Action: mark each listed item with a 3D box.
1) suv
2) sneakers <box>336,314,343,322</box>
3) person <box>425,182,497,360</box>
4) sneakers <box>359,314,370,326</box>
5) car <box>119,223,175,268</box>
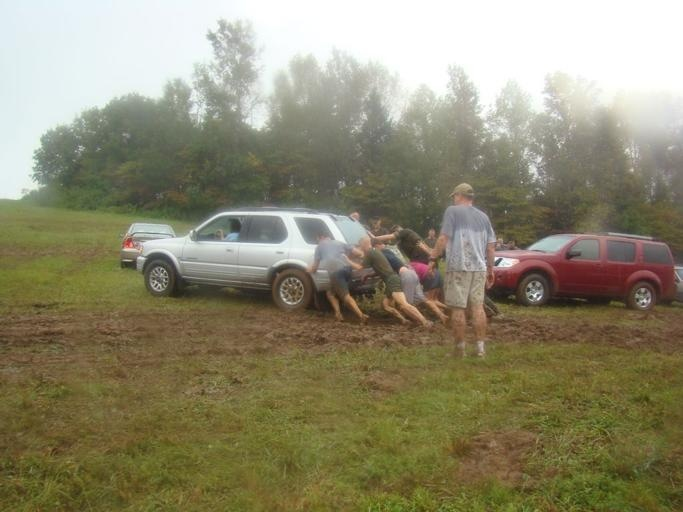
[{"bbox_3d":[6.340,0.480,13.088,5.303,2.062,0.866,-5,8,-17],"label":"suv"},{"bbox_3d":[-0.035,1.169,9.537,0.095,0.049,0.133,12,42,18],"label":"sneakers"},{"bbox_3d":[1.757,0.217,7.180,0.774,2.462,1.074,0,8,17],"label":"person"},{"bbox_3d":[0.436,1.179,9.484,0.117,0.138,0.147,-5,6,-22],"label":"sneakers"},{"bbox_3d":[-6.898,-0.621,17.754,1.521,1.298,3.476,0,8,-8],"label":"car"}]
